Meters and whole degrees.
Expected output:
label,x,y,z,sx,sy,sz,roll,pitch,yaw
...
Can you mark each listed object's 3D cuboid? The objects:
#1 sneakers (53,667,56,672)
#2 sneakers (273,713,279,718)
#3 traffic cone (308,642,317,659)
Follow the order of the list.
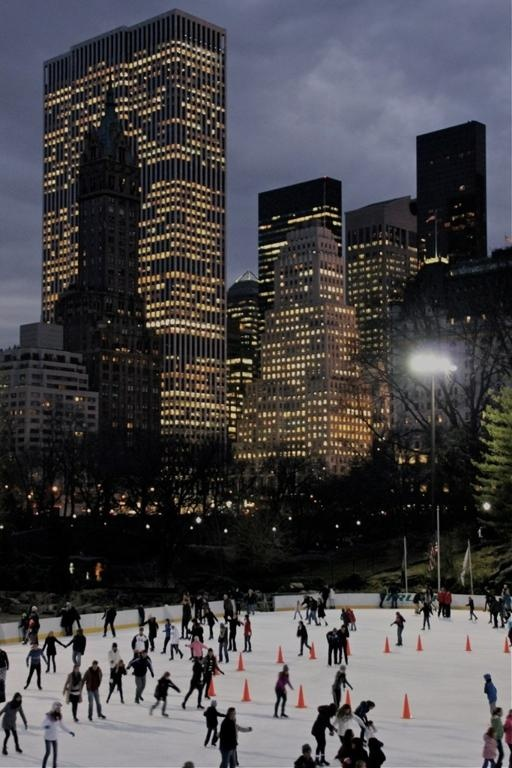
label,x,y,z,sx,sy,sz,roll,pitch,yaw
sneakers,-6.103,8.636,37.620,0.075,0.175,0.080,9,-15,-34
sneakers,0.485,7.802,29.366,0.154,0.171,0.066,-1,-4,3
traffic cone,1.919,9.146,42.764,0.355,0.640,0.392,-4,-2,26
